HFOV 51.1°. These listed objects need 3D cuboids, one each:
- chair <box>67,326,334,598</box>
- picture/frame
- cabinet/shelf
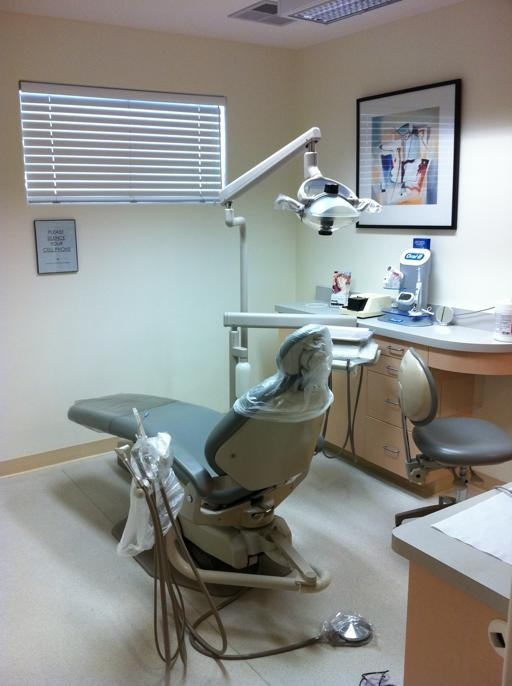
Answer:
[{"bbox_3d":[-0.286,0.345,2.162,1.253,0.965,0.488,15,16,38],"label":"chair"},{"bbox_3d":[0.829,-1.013,2.853,0.030,0.971,0.869,-6,15,-29],"label":"picture/frame"},{"bbox_3d":[0.549,0.258,2.314,0.283,0.724,0.793,-3,11,-29],"label":"cabinet/shelf"}]
